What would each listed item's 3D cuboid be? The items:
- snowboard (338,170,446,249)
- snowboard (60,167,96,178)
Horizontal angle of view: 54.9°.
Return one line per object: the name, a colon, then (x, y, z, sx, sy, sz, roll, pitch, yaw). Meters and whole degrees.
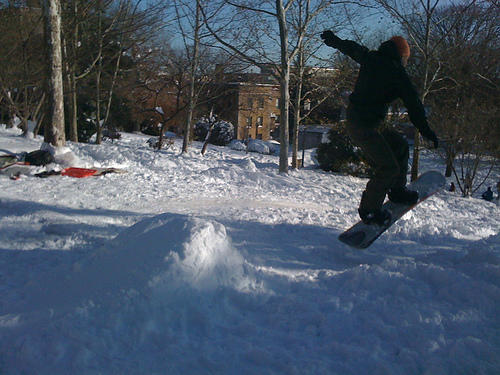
snowboard: (2.403, 0.396, 8.049, 0.439, 0.252, 2.223, 25, 38, 37)
snowboard: (-4.067, -0.361, 11.440, 0.708, 0.152, 0.642, 8, 7, 14)
